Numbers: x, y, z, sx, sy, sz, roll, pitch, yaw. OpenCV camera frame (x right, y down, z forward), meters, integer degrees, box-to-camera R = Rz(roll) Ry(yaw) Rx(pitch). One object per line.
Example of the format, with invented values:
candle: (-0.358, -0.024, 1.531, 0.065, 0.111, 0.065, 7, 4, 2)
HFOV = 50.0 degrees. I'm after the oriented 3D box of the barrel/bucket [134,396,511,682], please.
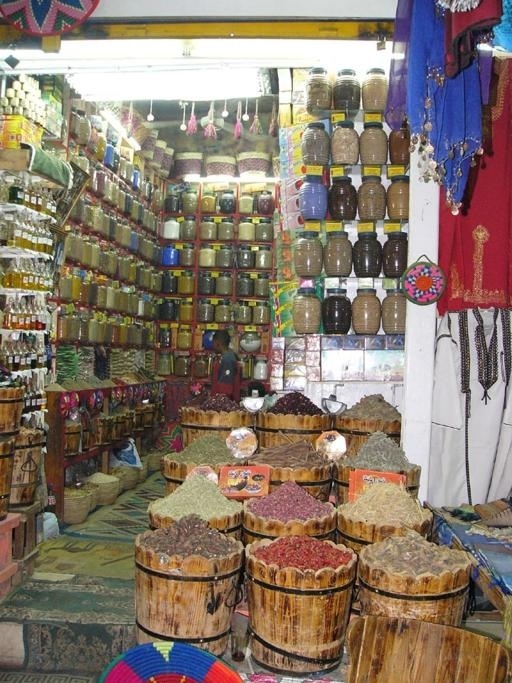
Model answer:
barrel/bucket: (0.227, 0.584, 1.740, 0.714, 0.364, 0.913, 2, -13, 3)
